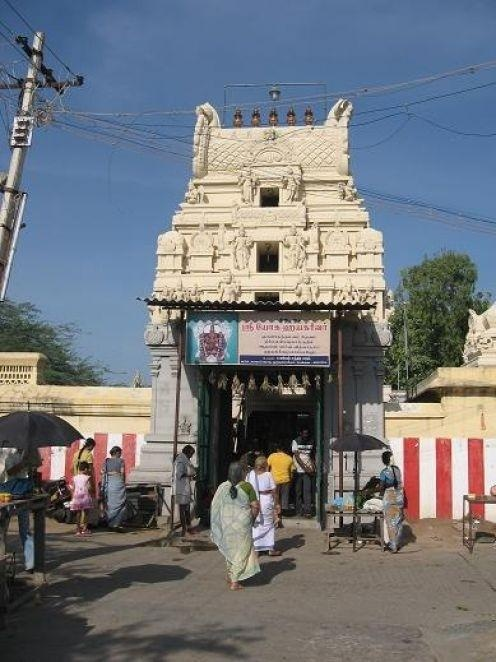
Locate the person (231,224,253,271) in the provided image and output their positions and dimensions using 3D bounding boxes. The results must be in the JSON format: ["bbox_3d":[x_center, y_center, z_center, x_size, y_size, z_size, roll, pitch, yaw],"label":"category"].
[{"bbox_3d":[-0.115,-1.843,21.433,0.531,0.836,0.284,1,-3,-9],"label":"person"}]

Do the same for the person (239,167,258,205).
[{"bbox_3d":[0.037,-3.633,22.390,0.452,1.065,0.544,-2,-4,36],"label":"person"}]

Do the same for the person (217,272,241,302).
[{"bbox_3d":[-0.452,-1.065,21.031,0.339,0.724,0.665,-2,-4,34],"label":"person"}]

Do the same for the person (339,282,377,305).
[{"bbox_3d":[2.443,-0.883,20.127,1.075,0.486,0.667,-2,-4,29],"label":"person"}]

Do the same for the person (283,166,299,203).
[{"bbox_3d":[1.124,-3.713,22.500,0.488,0.996,0.429,0,-3,3],"label":"person"}]

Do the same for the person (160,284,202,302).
[{"bbox_3d":[-1.441,-0.861,20.030,1.158,0.392,0.881,2,-4,-26],"label":"person"}]

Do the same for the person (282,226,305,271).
[{"bbox_3d":[1.159,-2.004,21.643,0.562,1.038,0.230,0,-3,4],"label":"person"}]

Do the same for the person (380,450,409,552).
[{"bbox_3d":[2.116,2.497,13.099,0.332,1.461,0.642,0,-3,10],"label":"person"}]

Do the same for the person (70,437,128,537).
[{"bbox_3d":[-2.487,2.564,14.914,0.737,1.518,1.407,-1,-3,15],"label":"person"}]

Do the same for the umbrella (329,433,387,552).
[{"bbox_3d":[1.680,2.236,13.747,0.782,1.318,0.790,0,5,4],"label":"umbrella"}]

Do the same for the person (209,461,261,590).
[{"bbox_3d":[-0.150,2.265,10.460,0.549,1.445,0.389,0,-3,0],"label":"person"}]

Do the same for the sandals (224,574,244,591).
[{"bbox_3d":[-0.136,2.950,10.420,0.206,0.204,0.099,2,1,-35],"label":"sandals"}]

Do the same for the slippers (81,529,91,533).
[{"bbox_3d":[-2.597,3.226,14.352,0.069,0.048,0.127,2,-5,-1],"label":"slippers"}]
